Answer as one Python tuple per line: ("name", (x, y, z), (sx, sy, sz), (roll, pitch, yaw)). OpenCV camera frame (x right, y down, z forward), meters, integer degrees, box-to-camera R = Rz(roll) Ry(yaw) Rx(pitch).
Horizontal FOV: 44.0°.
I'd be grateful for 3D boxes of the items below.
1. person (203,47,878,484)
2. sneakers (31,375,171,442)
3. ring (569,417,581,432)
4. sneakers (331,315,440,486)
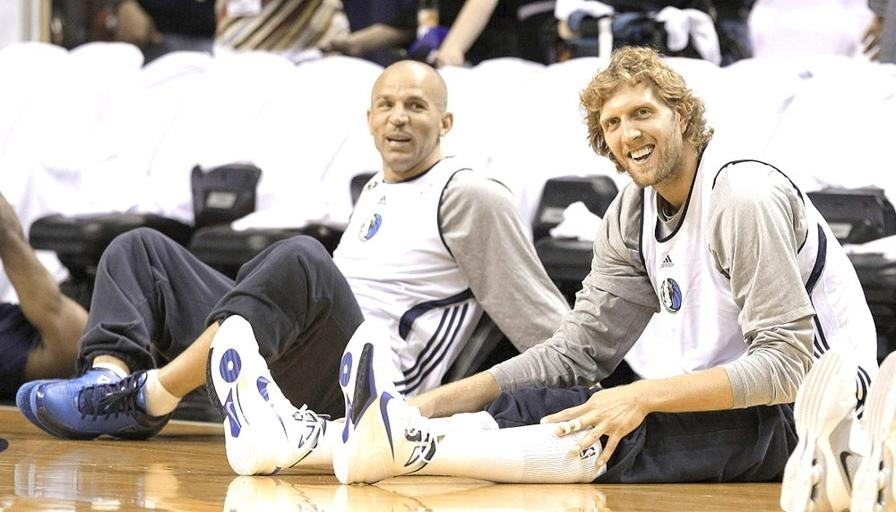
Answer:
("person", (0.176, 0.096, 3.980), (2.285, 1.533, 1.177), (0, 1, -19))
("sneakers", (-1.253, 0.553, 3.979), (0.549, 0.206, 0.231), (1, -13, -9))
("ring", (0.395, 0.530, 3.495), (0.032, 0.036, 0.028), (-3, 13, -17))
("sneakers", (-0.203, 0.497, 3.390), (0.277, 0.611, 0.205), (3, -7, -9))
